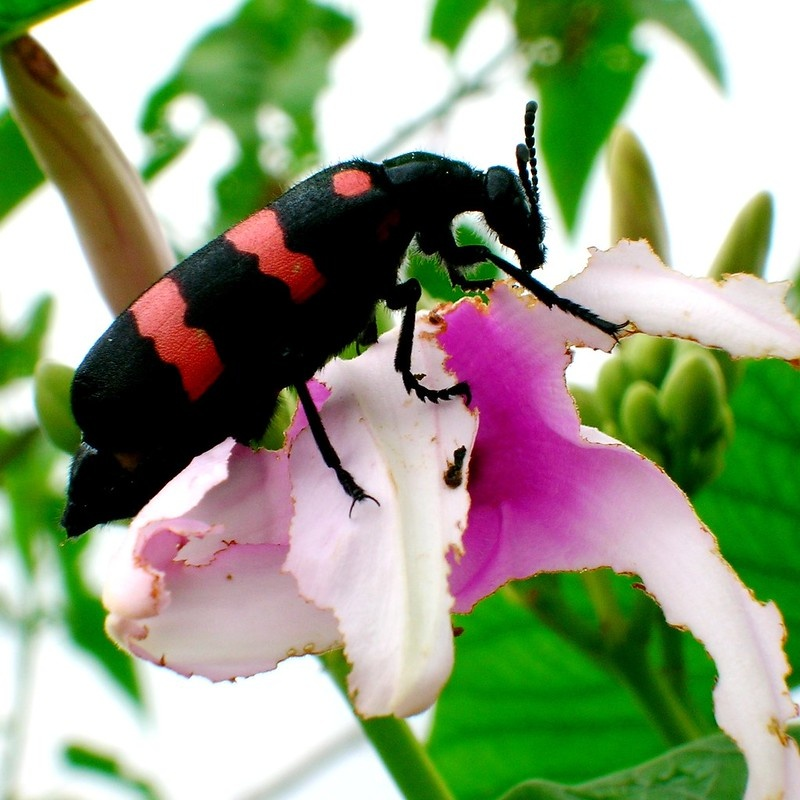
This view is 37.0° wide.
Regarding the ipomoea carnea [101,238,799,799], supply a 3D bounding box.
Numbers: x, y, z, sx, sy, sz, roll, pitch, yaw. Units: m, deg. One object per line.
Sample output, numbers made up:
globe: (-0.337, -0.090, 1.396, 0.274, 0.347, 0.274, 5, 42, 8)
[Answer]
ipomoea carnea: (0.055, 0.095, 0.833, 0.424, 0.313, 0.325, -3, 31, 28)
